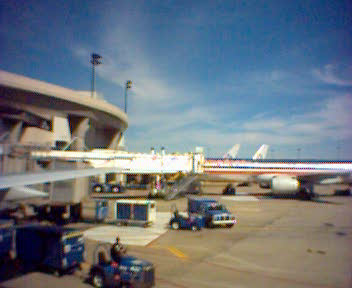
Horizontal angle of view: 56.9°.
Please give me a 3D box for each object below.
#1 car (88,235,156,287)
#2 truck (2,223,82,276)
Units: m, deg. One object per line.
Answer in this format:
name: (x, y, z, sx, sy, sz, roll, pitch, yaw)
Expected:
car: (-3.355, 7.721, 21.585, 4.046, 2.792, 2.895, -4, -8, 27)
truck: (-9.767, 7.691, 24.377, 5.270, 3.457, 3.168, -3, -4, 17)
